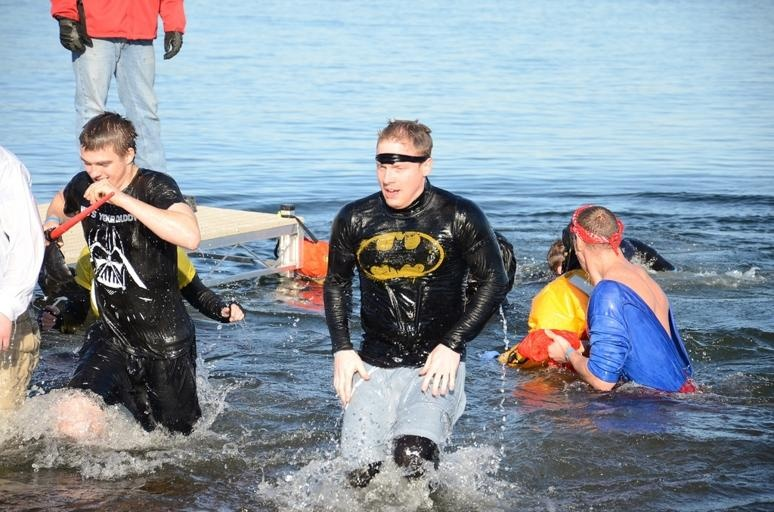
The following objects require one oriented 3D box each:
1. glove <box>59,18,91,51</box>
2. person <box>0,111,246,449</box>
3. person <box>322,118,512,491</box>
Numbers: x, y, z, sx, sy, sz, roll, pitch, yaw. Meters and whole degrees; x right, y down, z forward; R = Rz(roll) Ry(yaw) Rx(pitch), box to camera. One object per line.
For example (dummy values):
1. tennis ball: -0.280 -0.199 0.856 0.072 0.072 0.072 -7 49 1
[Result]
1. glove: -3.868 -2.688 13.959 0.328 0.158 0.429 -15 -31 28
2. person: -2.574 0.255 11.684 1.588 3.419 1.129 0 6 -8
3. person: 0.232 0.456 11.287 1.716 3.594 0.865 0 6 -4
